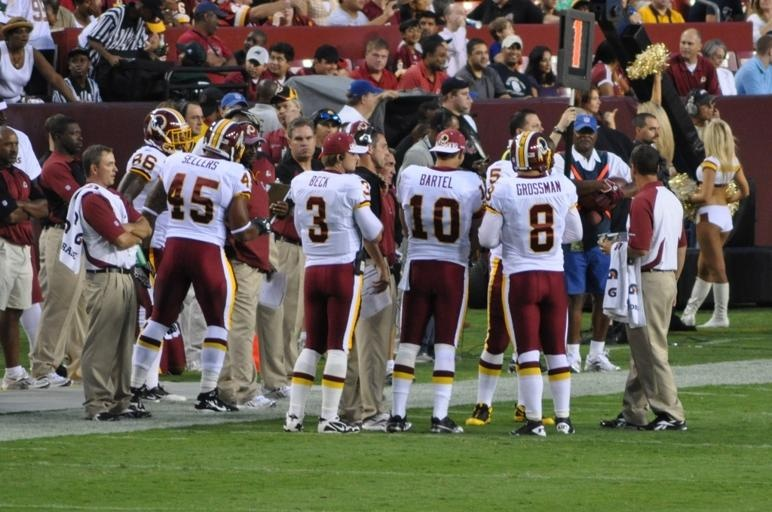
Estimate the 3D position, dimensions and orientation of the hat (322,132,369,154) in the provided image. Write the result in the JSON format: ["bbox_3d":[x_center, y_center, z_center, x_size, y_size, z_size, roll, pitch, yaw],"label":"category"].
[{"bbox_3d":[-0.419,-1.152,13.857,0.351,0.184,0.224,-3,21,-11],"label":"hat"}]

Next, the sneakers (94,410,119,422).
[{"bbox_3d":[-2.913,1.679,14.165,0.269,0.116,0.092,-3,24,-9],"label":"sneakers"}]

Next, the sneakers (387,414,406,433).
[{"bbox_3d":[0.122,1.732,13.985,0.242,0.176,0.166,0,-10,-1],"label":"sneakers"}]

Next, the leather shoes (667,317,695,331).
[{"bbox_3d":[4.441,0.994,20.090,0.574,0.234,0.189,0,4,-13],"label":"leather shoes"}]

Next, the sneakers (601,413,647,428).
[{"bbox_3d":[2.505,1.728,14.301,0.491,0.230,0.168,-1,-5,5],"label":"sneakers"}]

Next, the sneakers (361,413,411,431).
[{"bbox_3d":[-0.008,1.735,14.107,0.537,0.239,0.204,-3,0,17],"label":"sneakers"}]

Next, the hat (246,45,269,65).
[{"bbox_3d":[-1.914,-2.980,20.223,0.326,0.348,0.344,1,-10,-6],"label":"hat"}]

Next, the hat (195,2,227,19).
[{"bbox_3d":[-2.645,-3.666,20.540,0.424,0.211,0.269,8,6,-22],"label":"hat"}]

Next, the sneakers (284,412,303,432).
[{"bbox_3d":[-0.969,1.674,13.857,0.218,0.222,0.132,-4,17,-22],"label":"sneakers"}]

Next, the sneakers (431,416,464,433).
[{"bbox_3d":[0.611,1.717,13.877,0.359,0.156,0.136,1,-1,-27],"label":"sneakers"}]

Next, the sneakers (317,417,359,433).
[{"bbox_3d":[-0.508,1.730,13.935,0.482,0.195,0.161,0,2,-15],"label":"sneakers"}]

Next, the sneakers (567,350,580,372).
[{"bbox_3d":[2.335,1.318,16.819,0.093,0.243,0.253,-4,-11,25],"label":"sneakers"}]

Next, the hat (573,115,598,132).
[{"bbox_3d":[2.435,-1.617,16.618,0.282,0.242,0.162,0,-10,2],"label":"hat"}]

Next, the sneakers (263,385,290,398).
[{"bbox_3d":[-1.226,1.541,15.372,0.318,0.149,0.123,-2,12,-1],"label":"sneakers"}]

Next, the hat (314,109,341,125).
[{"bbox_3d":[-0.702,-1.607,15.855,0.311,0.228,0.245,0,-10,2],"label":"hat"}]

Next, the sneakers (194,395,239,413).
[{"bbox_3d":[-1.840,1.583,14.576,0.504,0.220,0.164,0,5,-20],"label":"sneakers"}]

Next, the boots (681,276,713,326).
[{"bbox_3d":[4.722,0.755,20.671,0.438,0.752,1.160,-2,-10,13],"label":"boots"}]

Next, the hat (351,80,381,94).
[{"bbox_3d":[-0.231,-2.171,17.542,0.407,0.157,0.259,-5,11,-28],"label":"hat"}]

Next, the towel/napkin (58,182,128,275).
[{"bbox_3d":[-3.070,-0.377,14.451,0.677,0.969,0.858,7,6,15],"label":"towel/napkin"}]

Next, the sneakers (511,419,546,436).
[{"bbox_3d":[1.474,1.746,13.854,0.385,0.181,0.141,3,1,15],"label":"sneakers"}]

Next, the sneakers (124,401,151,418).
[{"bbox_3d":[-2.586,1.643,14.389,0.348,0.250,0.117,0,-3,-2],"label":"sneakers"}]

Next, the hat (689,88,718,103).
[{"bbox_3d":[4.708,-2.361,20.223,0.319,0.191,0.240,-9,9,3],"label":"hat"}]

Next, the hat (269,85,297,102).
[{"bbox_3d":[-1.276,-1.993,16.845,0.331,0.266,0.272,-2,-10,9],"label":"hat"}]

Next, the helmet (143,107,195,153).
[{"bbox_3d":[-2.407,-1.383,14.773,0.519,0.450,0.411,7,18,9],"label":"helmet"}]

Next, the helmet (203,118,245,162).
[{"bbox_3d":[-1.640,-1.248,14.289,0.343,0.417,0.459,12,21,10],"label":"helmet"}]

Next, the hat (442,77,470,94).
[{"bbox_3d":[0.840,-2.086,16.709,0.262,0.125,0.189,-14,5,4],"label":"hat"}]

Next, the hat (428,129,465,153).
[{"bbox_3d":[0.653,-1.180,14.012,0.330,0.299,0.203,0,-10,3],"label":"hat"}]

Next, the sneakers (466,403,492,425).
[{"bbox_3d":[0.988,1.689,14.434,0.264,0.230,0.338,0,-10,2],"label":"sneakers"}]

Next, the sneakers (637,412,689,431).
[{"bbox_3d":[2.887,1.710,14.061,0.460,0.205,0.173,7,-1,8],"label":"sneakers"}]

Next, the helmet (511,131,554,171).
[{"bbox_3d":[1.452,-1.033,13.674,0.320,0.355,0.431,7,22,31],"label":"helmet"}]

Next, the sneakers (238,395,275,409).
[{"bbox_3d":[-1.417,1.613,15.041,0.347,0.152,0.152,-1,3,2],"label":"sneakers"}]

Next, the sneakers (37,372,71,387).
[{"bbox_3d":[-3.916,1.468,16.019,0.369,0.135,0.175,-4,-42,-20],"label":"sneakers"}]

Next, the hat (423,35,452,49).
[{"bbox_3d":[0.714,-3.091,19.590,0.414,0.177,0.320,-12,9,8],"label":"hat"}]

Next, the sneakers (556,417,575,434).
[{"bbox_3d":[1.838,1.745,13.924,0.192,0.168,0.235,-1,-10,6],"label":"sneakers"}]

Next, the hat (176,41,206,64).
[{"bbox_3d":[-2.838,-2.932,19.795,0.403,0.420,0.470,1,-10,-6],"label":"hat"}]

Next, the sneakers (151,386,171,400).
[{"bbox_3d":[-2.557,1.546,15.372,0.245,0.111,0.086,2,20,-41],"label":"sneakers"}]

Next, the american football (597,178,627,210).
[{"bbox_3d":[2.625,-0.718,15.909,0.413,0.388,0.308,8,-4,-45],"label":"american football"}]
